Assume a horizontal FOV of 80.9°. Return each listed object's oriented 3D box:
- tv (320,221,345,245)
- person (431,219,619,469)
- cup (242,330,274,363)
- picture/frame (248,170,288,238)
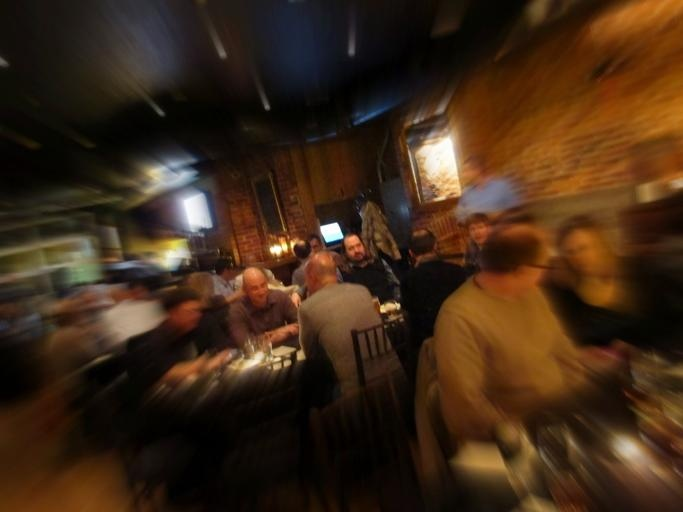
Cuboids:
[{"bbox_3d":[-0.164,-0.394,6.336,0.397,0.325,0.408,-11,18,-10],"label":"tv"},{"bbox_3d":[0.557,0.296,1.244,0.477,0.815,0.429,-16,18,-15],"label":"person"},{"bbox_3d":[-0.532,0.594,2.622,0.127,0.078,0.178,1,8,9],"label":"cup"},{"bbox_3d":[-0.938,-0.604,5.143,0.054,0.848,0.701,-5,14,22],"label":"picture/frame"}]
